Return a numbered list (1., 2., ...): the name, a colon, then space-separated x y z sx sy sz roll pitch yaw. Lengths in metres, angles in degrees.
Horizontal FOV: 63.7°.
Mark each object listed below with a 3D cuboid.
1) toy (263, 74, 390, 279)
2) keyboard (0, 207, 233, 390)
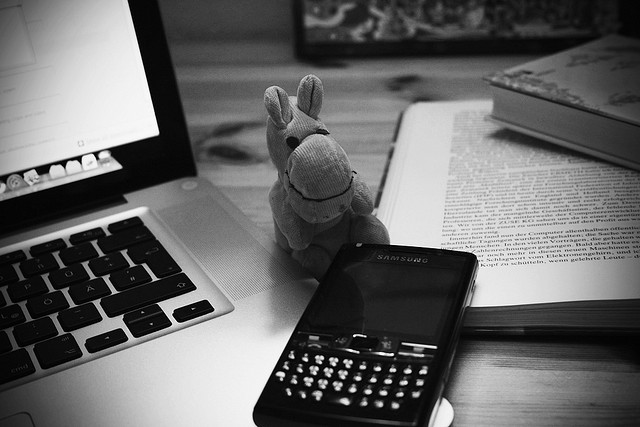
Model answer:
1. toy: -0.002 -0.026 0.435 0.081 0.158 0.099 -24 39 -26
2. keyboard: -0.177 0.054 0.437 0.169 0.036 0.152 -16 36 -16
